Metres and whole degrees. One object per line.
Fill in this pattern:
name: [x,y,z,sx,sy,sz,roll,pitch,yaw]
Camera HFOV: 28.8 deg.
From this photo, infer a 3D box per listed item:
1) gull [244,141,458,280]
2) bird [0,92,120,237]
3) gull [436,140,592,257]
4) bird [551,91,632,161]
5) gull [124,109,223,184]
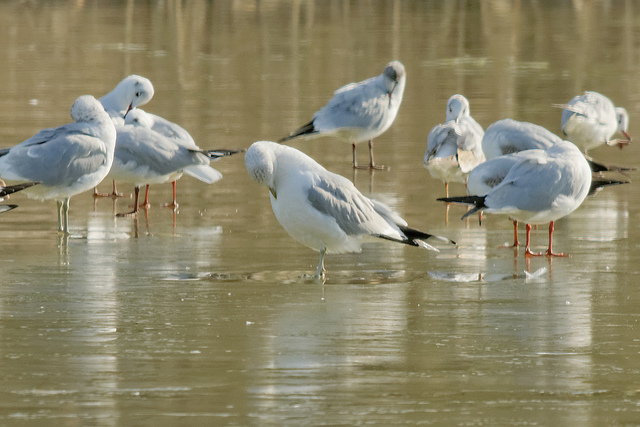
gull: [0.069,0.091,15.077,2.089,1.722,0.815,10,39,10]
bird: [-3.380,-0.604,16.435,0.908,1.664,1.462,31,46,31]
gull: [2.576,-0.203,15.955,2.281,1.283,1.079,-2,3,-10]
bird: [4.393,-1.343,20.184,0.715,0.800,2.139,9,-9,42]
gull: [-2.098,-0.980,18.111,2.091,0.946,0.756,18,23,31]
